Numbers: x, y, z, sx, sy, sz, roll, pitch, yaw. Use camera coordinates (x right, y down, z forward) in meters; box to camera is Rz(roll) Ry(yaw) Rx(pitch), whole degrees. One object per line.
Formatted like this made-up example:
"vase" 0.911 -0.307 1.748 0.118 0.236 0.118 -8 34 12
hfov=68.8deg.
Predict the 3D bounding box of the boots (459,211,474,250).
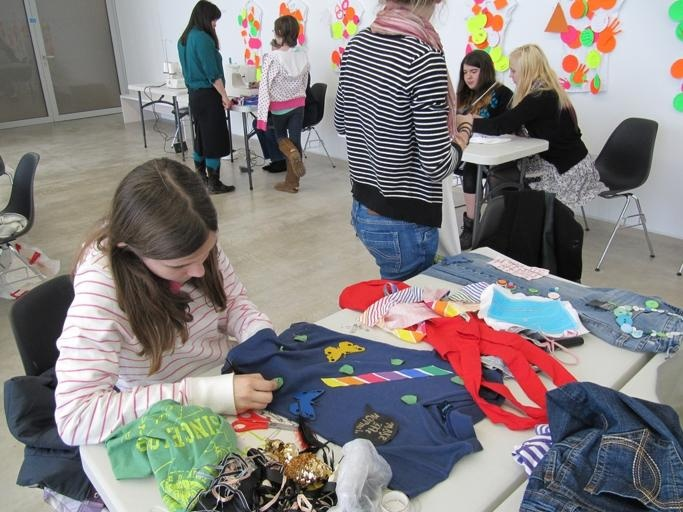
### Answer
"boots" 1.112 -0.239 4.358 0.126 0.289 0.322 7 1 21

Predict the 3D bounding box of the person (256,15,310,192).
"person" -0.651 -1.646 5.444 0.578 1.759 0.922 -3 26 -4

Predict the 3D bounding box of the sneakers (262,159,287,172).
"sneakers" -0.841 -1.147 6.297 0.354 0.159 0.129 -5 34 -15

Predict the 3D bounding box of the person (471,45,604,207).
"person" 1.565 -0.956 4.091 0.986 1.478 0.640 -8 5 15

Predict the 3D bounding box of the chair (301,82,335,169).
"chair" -0.390 -1.671 6.293 0.576 0.817 0.577 -11 20 -1

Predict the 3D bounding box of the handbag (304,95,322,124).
"handbag" -0.356 -1.748 5.936 0.162 0.338 0.213 15 32 29

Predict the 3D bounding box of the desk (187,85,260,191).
"desk" -1.429 -1.315 5.405 0.239 1.127 0.319 -9 8 -25
